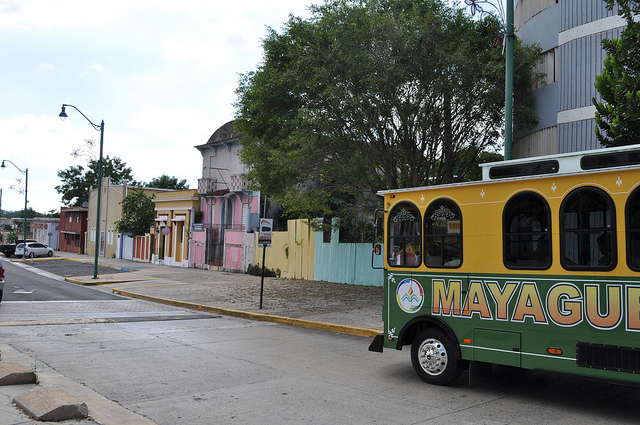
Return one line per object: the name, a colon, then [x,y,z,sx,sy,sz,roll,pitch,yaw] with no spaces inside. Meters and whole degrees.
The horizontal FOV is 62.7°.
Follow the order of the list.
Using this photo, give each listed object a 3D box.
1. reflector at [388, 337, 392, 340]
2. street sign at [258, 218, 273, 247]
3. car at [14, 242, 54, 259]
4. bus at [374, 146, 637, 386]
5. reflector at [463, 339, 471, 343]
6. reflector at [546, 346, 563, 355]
reflector: [1.540,2.781,11.582,0.097,0.041,0.004,-1,-2,41]
street sign: [-2.096,0.783,19.982,0.453,1.064,0.857,1,-1,-11]
car: [-30.404,3.955,55.456,1.757,1.330,4.174,1,-2,8]
bus: [3.686,1.247,10.338,5.294,3.577,2.301,-1,0,41]
reflector: [2.953,2.577,10.527,0.127,0.071,0.015,0,-1,29]
reflector: [4.317,2.552,9.667,0.244,0.132,0.022,0,-1,28]
